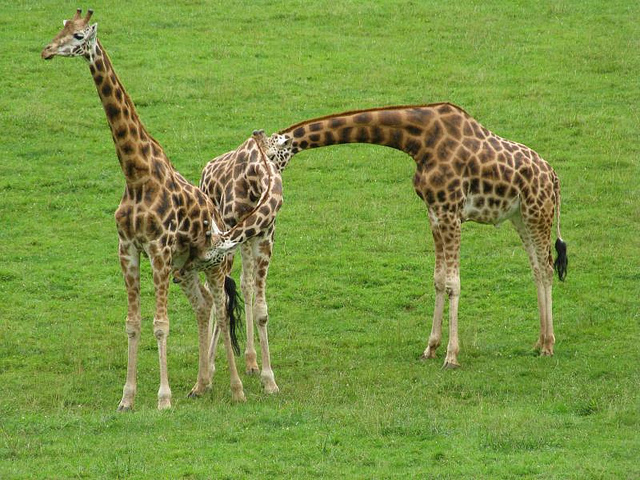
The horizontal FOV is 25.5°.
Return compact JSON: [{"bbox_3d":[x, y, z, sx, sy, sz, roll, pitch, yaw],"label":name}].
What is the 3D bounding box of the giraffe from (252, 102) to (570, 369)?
[{"bbox_3d":[2.852,-0.243,34.067,5.766,5.931,1.813,0,9,6],"label":"giraffe"}]
